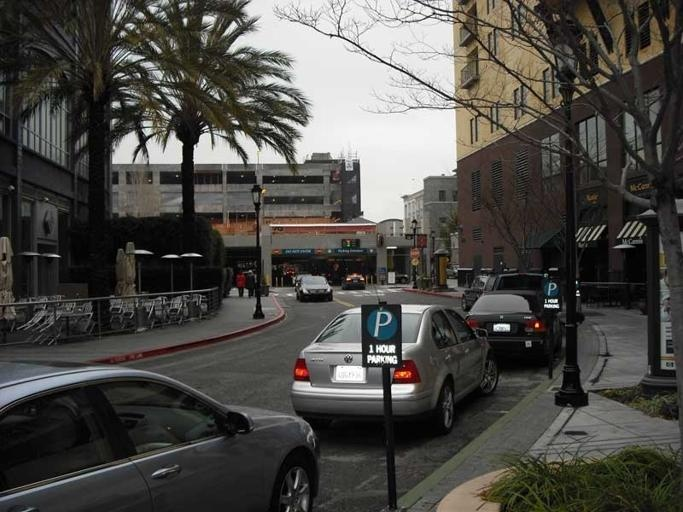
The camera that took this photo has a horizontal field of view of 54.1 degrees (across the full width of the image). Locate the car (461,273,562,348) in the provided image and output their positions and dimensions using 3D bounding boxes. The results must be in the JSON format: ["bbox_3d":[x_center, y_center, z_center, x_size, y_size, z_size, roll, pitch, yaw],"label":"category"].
[{"bbox_3d":[4.087,1.334,15.619,1.430,1.615,3.737,0,4,17],"label":"car"}]

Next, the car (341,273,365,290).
[{"bbox_3d":[1.283,2.317,58.023,1.438,1.101,2.946,-4,-2,33],"label":"car"}]
